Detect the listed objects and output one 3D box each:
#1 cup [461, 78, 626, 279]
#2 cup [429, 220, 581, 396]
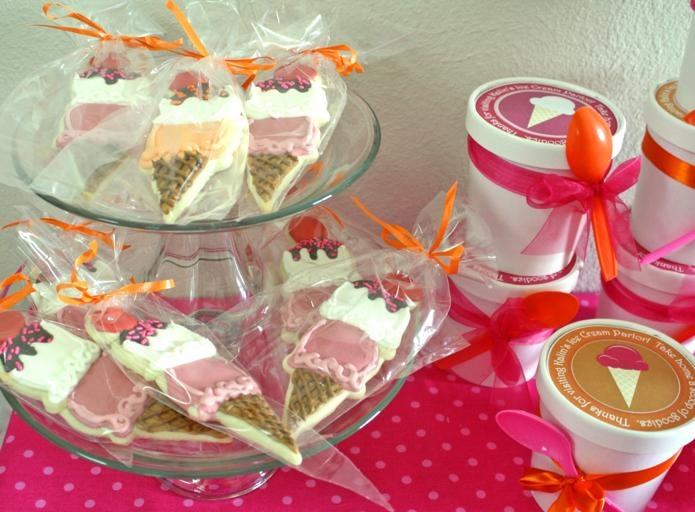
[{"bbox_3d":[0.285,-0.128,0.920,0.211,0.226,0.282,4,60,15],"label":"cup"},{"bbox_3d":[0.260,0.096,1.033,0.198,0.275,0.169,4,30,11],"label":"cup"}]
